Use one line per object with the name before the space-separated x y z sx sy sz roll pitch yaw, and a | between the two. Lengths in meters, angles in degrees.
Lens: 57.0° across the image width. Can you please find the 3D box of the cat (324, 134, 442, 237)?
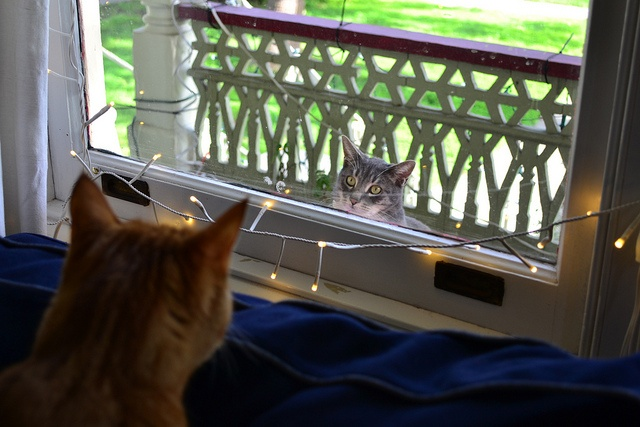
cat | 0.160 -0.051 1.590 0.227 0.233 0.333 22 7 27
